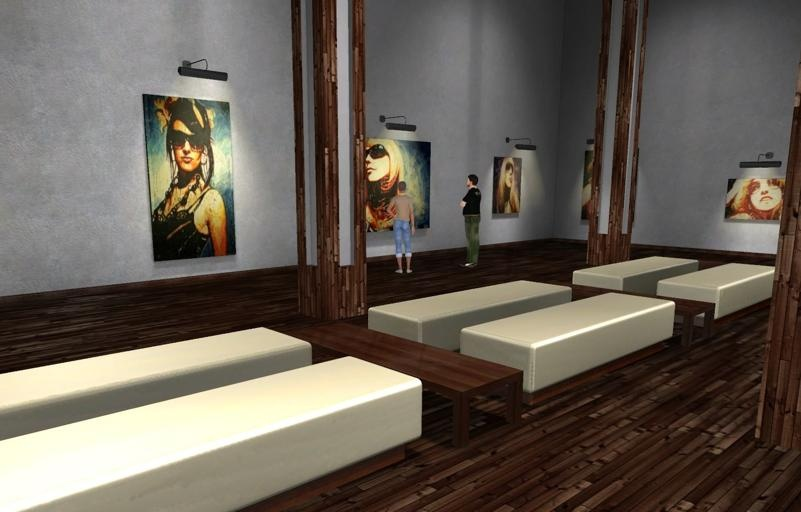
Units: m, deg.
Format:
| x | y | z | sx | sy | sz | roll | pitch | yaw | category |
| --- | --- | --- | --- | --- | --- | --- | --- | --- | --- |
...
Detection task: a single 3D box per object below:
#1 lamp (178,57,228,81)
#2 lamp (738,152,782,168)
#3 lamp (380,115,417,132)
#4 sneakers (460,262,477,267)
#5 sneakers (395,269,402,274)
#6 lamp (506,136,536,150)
| x | y | z | sx | sy | sz | roll | pitch | yaw | category |
| --- | --- | --- | --- | --- | --- | --- | --- | --- | --- |
| -3.523 | -3.348 | 8.361 | 0.734 | 0.385 | 0.680 | -7 | 16 | -25 | lamp |
| 8.835 | -2.358 | 11.588 | 0.800 | 0.416 | 0.549 | 11 | 18 | 38 | lamp |
| -0.062 | -3.017 | 10.682 | 0.803 | 0.387 | 0.664 | -5 | 15 | -18 | lamp |
| 1.490 | 0.172 | 10.382 | 0.331 | 0.106 | 0.129 | -1 | 3 | 4 | sneakers |
| -0.041 | 0.298 | 9.694 | 0.073 | 0.055 | 0.139 | 0 | 9 | -7 | sneakers |
| 3.411 | -3.228 | 13.462 | 0.784 | 0.308 | 0.447 | 3 | 8 | 31 | lamp |
